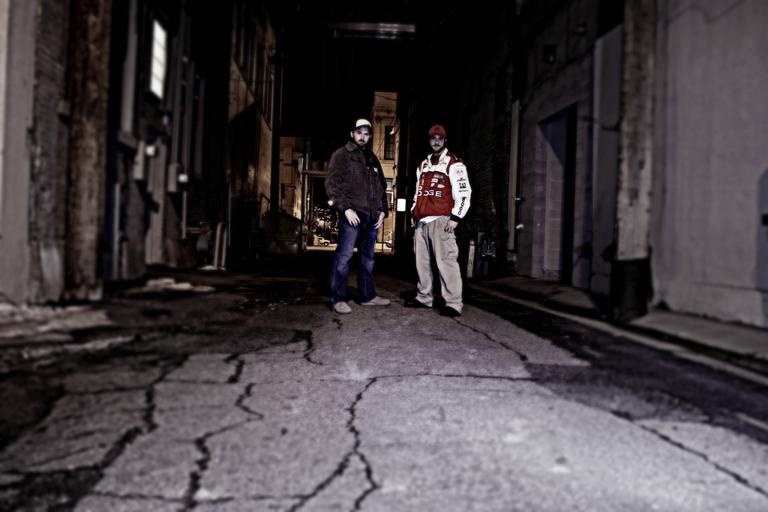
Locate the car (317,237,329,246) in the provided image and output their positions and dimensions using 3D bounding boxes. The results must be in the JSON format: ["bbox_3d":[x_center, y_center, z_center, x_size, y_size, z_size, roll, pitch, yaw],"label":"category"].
[{"bbox_3d":[-7.387,-1.595,68.300,1.759,1.010,1.180,-1,7,-3],"label":"car"}]

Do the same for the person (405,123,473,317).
[{"bbox_3d":[0.666,-0.426,7.068,0.687,2.273,1.182,-2,13,-17],"label":"person"}]

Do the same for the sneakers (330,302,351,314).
[{"bbox_3d":[-0.485,0.591,6.688,0.222,0.129,0.192,2,13,-2],"label":"sneakers"}]

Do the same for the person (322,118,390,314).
[{"bbox_3d":[-0.329,-0.481,6.931,0.659,2.257,1.077,9,14,28],"label":"person"}]

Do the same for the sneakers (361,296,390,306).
[{"bbox_3d":[-0.098,0.538,7.264,0.340,0.145,0.136,-1,-3,-1],"label":"sneakers"}]

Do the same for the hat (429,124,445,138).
[{"bbox_3d":[0.661,-1.539,7.151,0.158,0.139,0.239,1,-6,12],"label":"hat"}]
